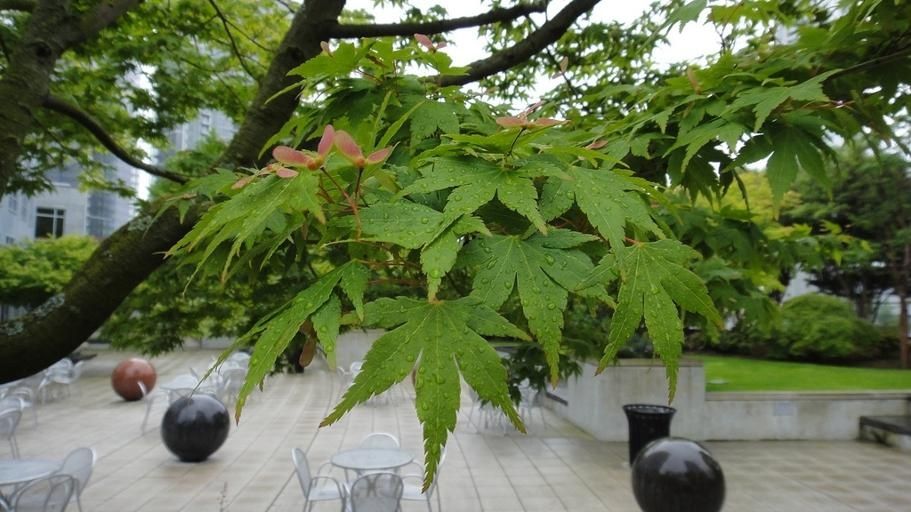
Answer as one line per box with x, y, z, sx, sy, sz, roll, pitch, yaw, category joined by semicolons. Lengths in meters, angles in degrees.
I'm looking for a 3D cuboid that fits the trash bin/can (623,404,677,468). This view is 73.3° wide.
4.375;4.143;14.066;1.006;1.401;0.955;1;-10;14;trash bin/can

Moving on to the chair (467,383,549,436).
1.511;4.429;17.827;2.382;1.373;3.377;3;-10;4;chair
